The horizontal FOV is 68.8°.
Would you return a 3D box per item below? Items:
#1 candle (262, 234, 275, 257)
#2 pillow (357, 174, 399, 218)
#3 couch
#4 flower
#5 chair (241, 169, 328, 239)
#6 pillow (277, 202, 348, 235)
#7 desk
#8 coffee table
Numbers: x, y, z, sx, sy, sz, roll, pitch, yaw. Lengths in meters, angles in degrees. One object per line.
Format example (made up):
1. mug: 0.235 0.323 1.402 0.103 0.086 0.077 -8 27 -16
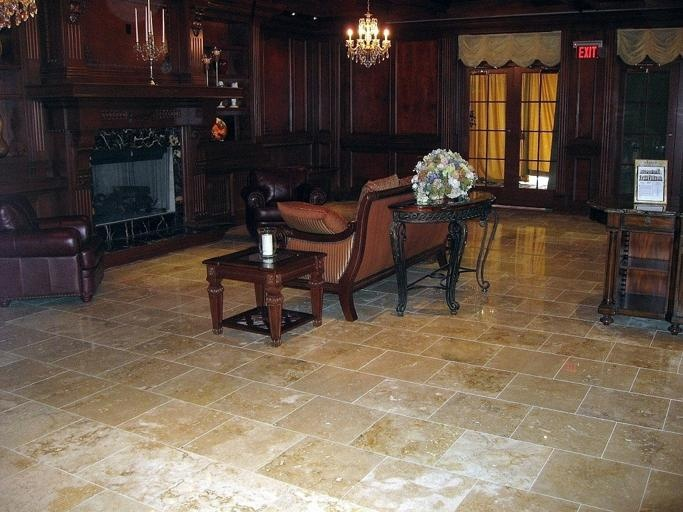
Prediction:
1. candle: -0.642 -0.093 4.298 0.110 0.206 0.065 -3 15 -9
2. pillow: 0.359 -0.596 4.777 0.425 0.129 0.442 10 41 11
3. couch: 0.235 -0.174 5.708 1.156 1.150 2.316 5 7 25
4. flower: 0.971 -0.793 4.977 0.667 0.406 0.601 -13 17 -40
5. chair: -0.913 -0.874 7.925 1.267 0.892 0.832 -7 27 -18
6. pillow: -0.256 -0.355 4.698 0.731 0.298 0.216 4 15 19
7. desk: 1.201 -0.079 5.382 0.717 1.041 1.779 5 12 30
8. coffee table: -0.626 0.299 4.515 0.778 0.724 0.834 7 16 28
